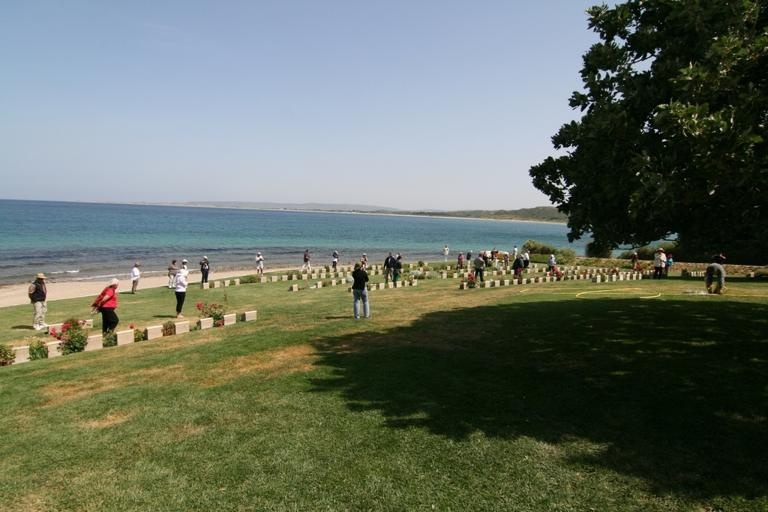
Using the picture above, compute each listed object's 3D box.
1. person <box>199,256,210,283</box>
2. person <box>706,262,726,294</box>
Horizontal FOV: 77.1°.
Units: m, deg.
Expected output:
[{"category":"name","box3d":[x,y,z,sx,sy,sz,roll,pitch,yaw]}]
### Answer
[{"category":"person","box3d":[-11.030,0.923,29.802,0.372,1.547,0.851,-3,2,-23]},{"category":"person","box3d":[13.641,0.888,19.907,0.605,1.190,2.044,-1,1,33]}]
